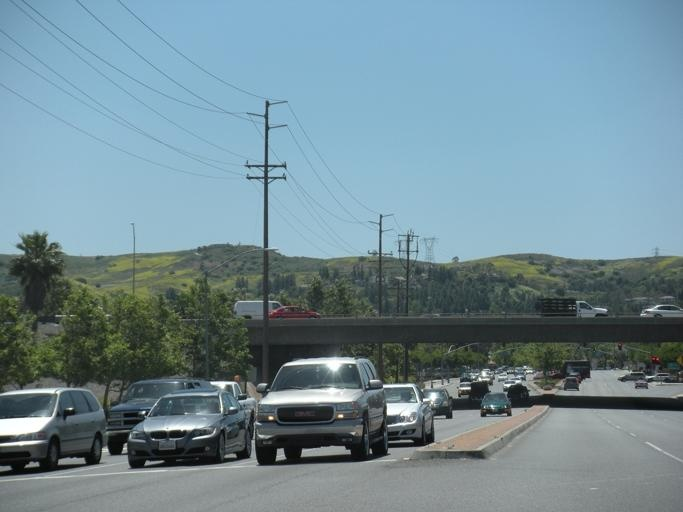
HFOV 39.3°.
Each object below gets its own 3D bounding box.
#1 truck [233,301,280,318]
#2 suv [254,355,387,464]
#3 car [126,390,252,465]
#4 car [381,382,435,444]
[{"bbox_3d":[-7.174,4.490,79.395,3.464,2.050,2.214,-2,-3,2],"label":"truck"},{"bbox_3d":[-0.643,5.011,30.606,3.518,3.455,7.232,-3,-11,4],"label":"suv"},{"bbox_3d":[-4.869,5.680,31.362,2.814,2.452,7.230,-2,-10,2],"label":"car"},{"bbox_3d":[2.356,5.584,33.237,1.769,1.869,4.791,-1,-6,12],"label":"car"}]
